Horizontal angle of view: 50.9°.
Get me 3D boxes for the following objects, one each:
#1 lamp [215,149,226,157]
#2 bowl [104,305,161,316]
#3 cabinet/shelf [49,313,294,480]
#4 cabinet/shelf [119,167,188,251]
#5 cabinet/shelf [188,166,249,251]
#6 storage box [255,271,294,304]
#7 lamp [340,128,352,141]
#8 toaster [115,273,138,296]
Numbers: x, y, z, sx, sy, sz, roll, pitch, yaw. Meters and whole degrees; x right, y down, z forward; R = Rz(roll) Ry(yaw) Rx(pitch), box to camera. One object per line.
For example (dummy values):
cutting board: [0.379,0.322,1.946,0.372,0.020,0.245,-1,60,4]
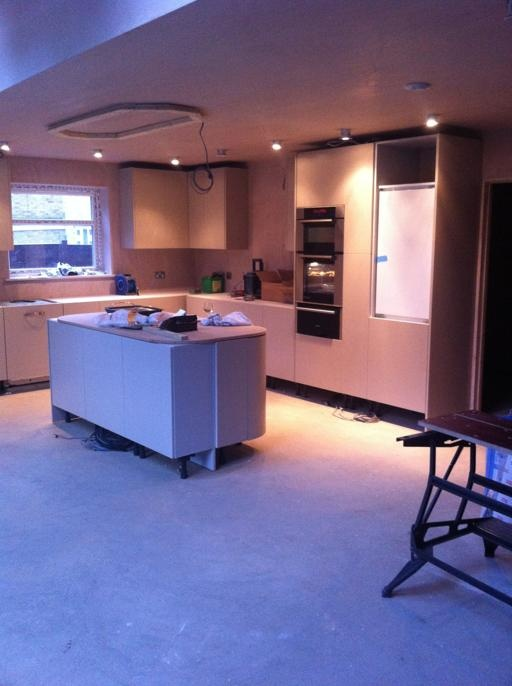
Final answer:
lamp: [-0.361,-1.966,5.576,0.092,0.056,0.089,3,6,34]
bowl: [-1.019,-0.262,4.368,0.328,0.046,0.211,12,15,41]
cabinet/shelf: [-0.879,0.301,4.382,0.872,1.022,1.998,-7,10,-43]
cabinet/shelf: [-1.363,-1.748,6.913,1.016,1.196,0.378,-5,8,-35]
cabinet/shelf: [-0.448,-1.705,6.761,0.394,1.131,0.973,-7,13,-39]
storage box: [0.231,-0.630,6.039,0.383,0.327,0.444,-6,10,-31]
lamp: [0.751,-1.736,4.488,0.076,0.087,0.076,27,47,33]
toaster: [-1.696,-0.751,6.938,0.302,0.348,0.272,5,9,33]
